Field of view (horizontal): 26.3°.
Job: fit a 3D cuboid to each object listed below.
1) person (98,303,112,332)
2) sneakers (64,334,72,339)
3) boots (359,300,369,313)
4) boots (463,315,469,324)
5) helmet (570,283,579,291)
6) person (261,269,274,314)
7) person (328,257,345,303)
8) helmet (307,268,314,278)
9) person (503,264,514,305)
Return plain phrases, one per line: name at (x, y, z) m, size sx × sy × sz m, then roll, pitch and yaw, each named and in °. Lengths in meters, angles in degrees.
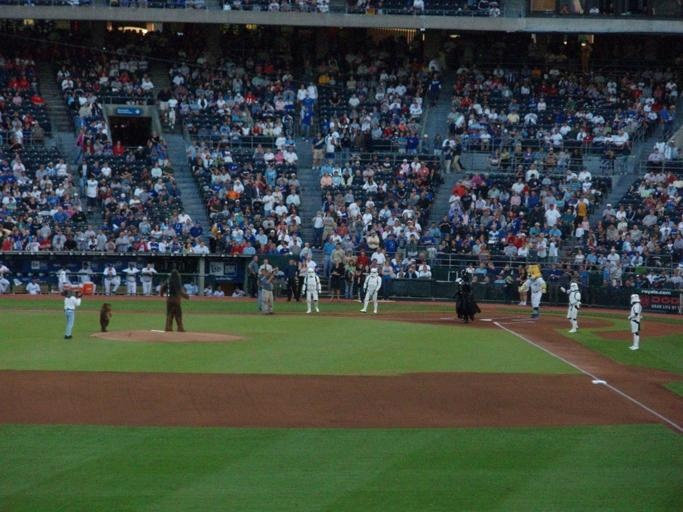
person at (-9.422, 2.470, 58.200) m, size 0.326 × 0.673 × 1.300 m, roll 1°, pitch 40°, yaw -8°
sneakers at (-10.456, 3.068, 55.770) m, size 0.286 × 0.136 × 0.108 m, roll 0°, pitch 9°, yaw 3°
boots at (0.943, 2.278, 65.559) m, size 0.478 × 0.604 × 0.303 m, roll 19°, pitch -5°, yaw 2°
boots at (5.364, 2.695, 62.661) m, size 0.204 × 0.371 × 0.251 m, roll -1°, pitch 21°, yaw -6°
helmet at (9.629, 1.249, 60.326) m, size 0.375 × 0.336 × 0.282 m, roll 6°, pitch -5°, yaw -22°
person at (-3.279, 1.536, 63.752) m, size 0.481 × 1.973 × 0.781 m, roll 3°, pitch 9°, yaw 1°
person at (-0.204, 1.074, 70.167) m, size 0.677 × 1.992 × 1.069 m, roll 2°, pitch 9°, yaw 0°
helmet at (-1.357, 0.665, 64.329) m, size 0.330 × 0.308 × 0.493 m, roll 2°, pitch 10°, yaw 0°
person at (7.985, 1.381, 70.048) m, size 0.490 × 1.684 × 0.475 m, roll 3°, pitch 9°, yaw 7°
